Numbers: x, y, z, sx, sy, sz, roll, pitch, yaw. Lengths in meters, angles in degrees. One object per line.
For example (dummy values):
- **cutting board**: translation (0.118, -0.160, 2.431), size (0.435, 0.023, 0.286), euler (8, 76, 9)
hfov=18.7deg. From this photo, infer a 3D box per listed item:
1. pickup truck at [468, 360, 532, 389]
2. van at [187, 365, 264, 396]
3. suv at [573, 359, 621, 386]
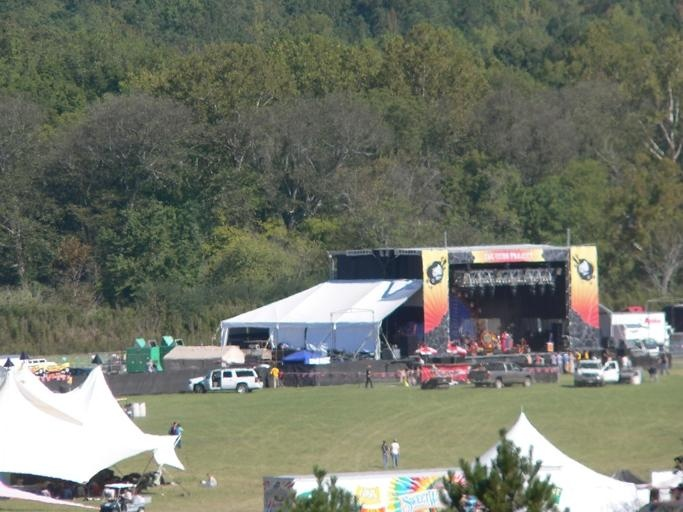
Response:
- **pickup truck**: translation (13.988, 10.850, 184.437), size (5.271, 2.297, 2.170), euler (-5, 4, 3)
- **van**: translation (-10.502, 11.434, 185.322), size (5.923, 2.247, 1.148), euler (-5, 4, -1)
- **suv**: translation (22.668, 10.667, 184.186), size (1.911, 2.506, 4.548), euler (0, 6, 45)
